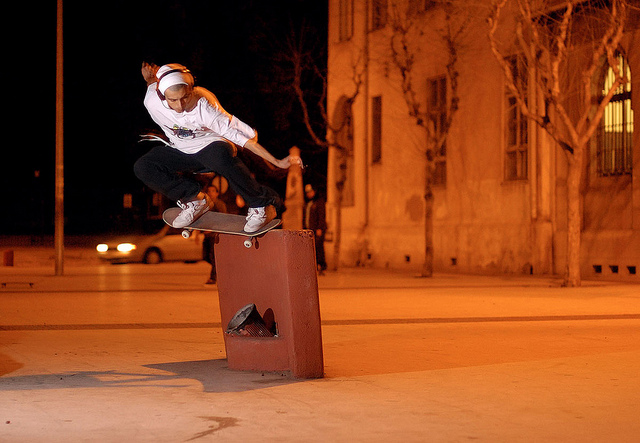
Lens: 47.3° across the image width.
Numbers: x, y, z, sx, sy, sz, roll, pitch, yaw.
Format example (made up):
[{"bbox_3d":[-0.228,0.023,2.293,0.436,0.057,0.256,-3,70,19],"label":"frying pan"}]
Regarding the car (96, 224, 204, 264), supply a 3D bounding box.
[{"bbox_3d":[-7.551,1.061,32.110,4.761,1.548,2.083,1,-1,-12],"label":"car"}]
